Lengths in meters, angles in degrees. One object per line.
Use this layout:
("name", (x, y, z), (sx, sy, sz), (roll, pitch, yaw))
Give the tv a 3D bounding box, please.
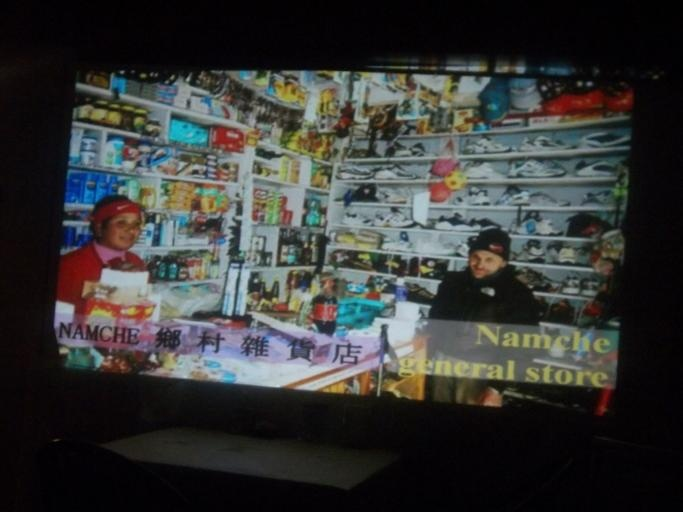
("tv", (0.162, -0.045, 2.938), (2.690, 1.263, 0.098), (4, 2, 7))
